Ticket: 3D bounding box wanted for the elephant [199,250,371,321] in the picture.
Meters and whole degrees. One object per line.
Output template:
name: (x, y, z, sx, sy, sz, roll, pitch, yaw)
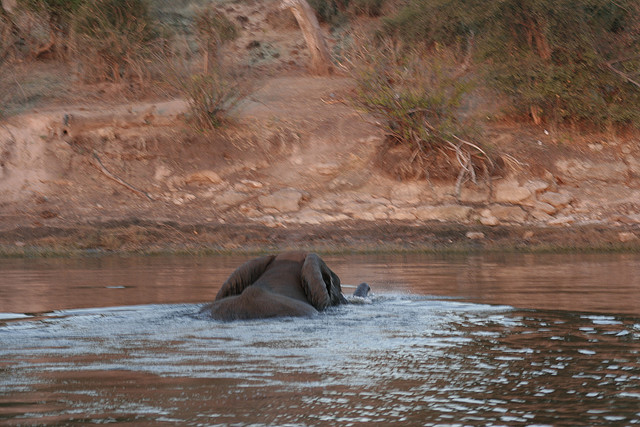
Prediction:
elephant: (-0.778, 1.360, 19.779, 1.421, 2.437, 0.727, -2, 92, 41)
